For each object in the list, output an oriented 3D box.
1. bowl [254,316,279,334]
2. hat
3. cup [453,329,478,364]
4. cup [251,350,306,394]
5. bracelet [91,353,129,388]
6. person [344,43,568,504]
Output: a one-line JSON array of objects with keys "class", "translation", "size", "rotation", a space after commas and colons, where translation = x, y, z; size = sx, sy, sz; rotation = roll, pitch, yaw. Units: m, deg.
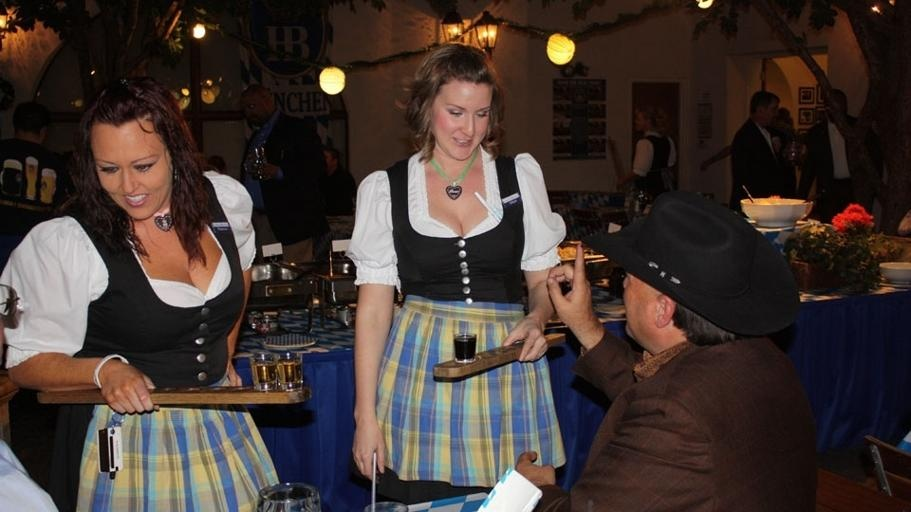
[{"class": "bowl", "translation": [-1.150, 0.424, 4.173], "size": [0.107, 0.047, 0.141], "rotation": [0, 2, -11]}, {"class": "hat", "translation": [0.832, 0.098, 2.433], "size": [0.594, 0.219, 0.489], "rotation": [33, 46, 20]}, {"class": "cup", "translation": [0.032, 0.364, 2.690], "size": [0.109, 0.079, 0.082], "rotation": [2, -3, -8]}, {"class": "cup", "translation": [-0.671, 0.432, 2.561], "size": [0.222, 0.128, 0.125], "rotation": [0, 5, 5]}, {"class": "bracelet", "translation": [-1.226, 0.405, 2.424], "size": [0.116, 0.106, 0.030], "rotation": [3, -2, -15]}, {"class": "person", "translation": [0.019, 0.377, 2.987], "size": [1.054, 2.399, 0.889], "rotation": [0, 20, 1]}]
